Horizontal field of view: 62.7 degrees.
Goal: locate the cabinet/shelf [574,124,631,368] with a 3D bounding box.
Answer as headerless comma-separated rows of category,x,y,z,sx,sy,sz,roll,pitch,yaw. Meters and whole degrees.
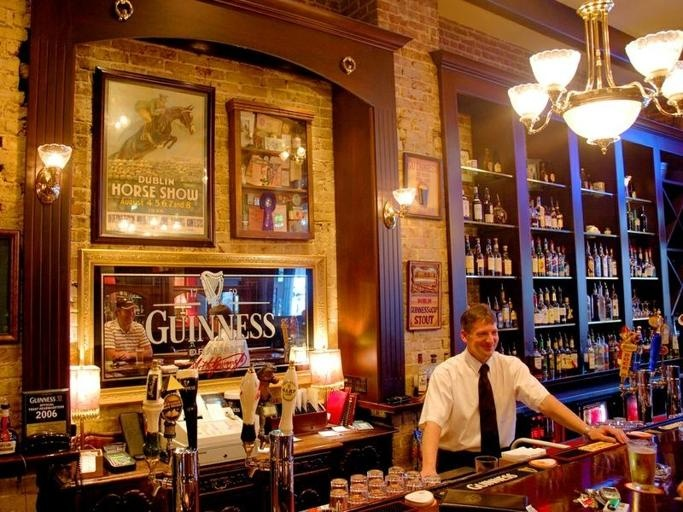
cabinet/shelf,3.032,-0.283,6.597,0.385,2.006,0.203,-2,13,25

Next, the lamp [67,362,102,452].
lamp,-1.625,0.948,3.543,0.169,0.503,0.375,0,-8,-26

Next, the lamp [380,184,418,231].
lamp,0.444,-0.402,4.600,0.275,0.379,0.324,2,-1,-39

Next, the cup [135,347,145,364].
cup,-1.426,0.704,3.983,0.074,0.117,0.076,1,-6,0

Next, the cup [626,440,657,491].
cup,1.334,0.927,2.500,0.163,0.191,0.168,0,-5,0

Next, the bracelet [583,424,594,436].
bracelet,1.425,1.009,3.248,0.060,0.060,0.057,-18,-41,21

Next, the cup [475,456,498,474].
cup,0.706,1.006,2.725,0.073,0.082,0.080,0,-5,0

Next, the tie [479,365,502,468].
tie,0.932,0.973,3.554,0.104,0.561,0.202,-8,-8,33

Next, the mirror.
mirror,-1.058,0.500,3.940,1.207,0.734,0.055,1,-2,-23

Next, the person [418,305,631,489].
person,0.898,0.822,3.510,1.007,1.040,0.493,-2,-7,-10

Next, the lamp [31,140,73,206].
lamp,-1.720,-0.510,3.335,0.191,0.383,0.232,1,-8,-29
